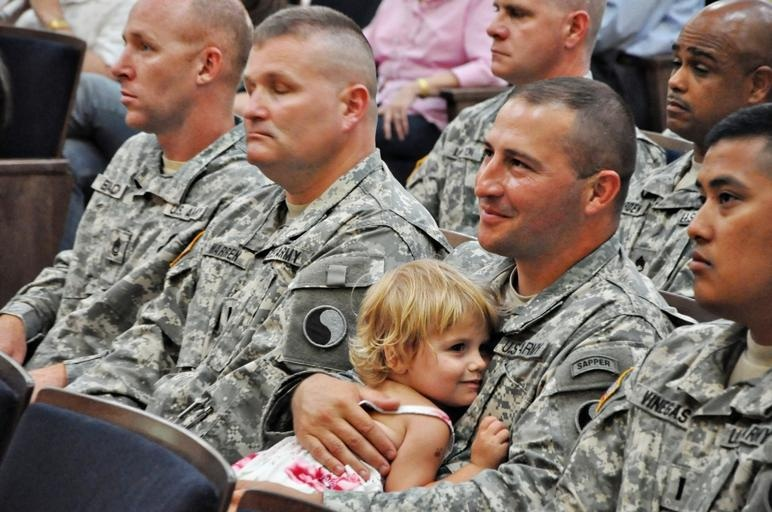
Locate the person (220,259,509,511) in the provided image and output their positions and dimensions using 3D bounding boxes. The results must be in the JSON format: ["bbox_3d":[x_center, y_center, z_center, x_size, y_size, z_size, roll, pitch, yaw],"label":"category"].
[{"bbox_3d":[-0.191,0.347,3.506,0.928,0.949,0.599,-8,14,-16],"label":"person"}]

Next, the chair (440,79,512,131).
[{"bbox_3d":[0.533,-0.908,6.049,0.335,0.316,0.252,-6,13,-23],"label":"chair"}]
